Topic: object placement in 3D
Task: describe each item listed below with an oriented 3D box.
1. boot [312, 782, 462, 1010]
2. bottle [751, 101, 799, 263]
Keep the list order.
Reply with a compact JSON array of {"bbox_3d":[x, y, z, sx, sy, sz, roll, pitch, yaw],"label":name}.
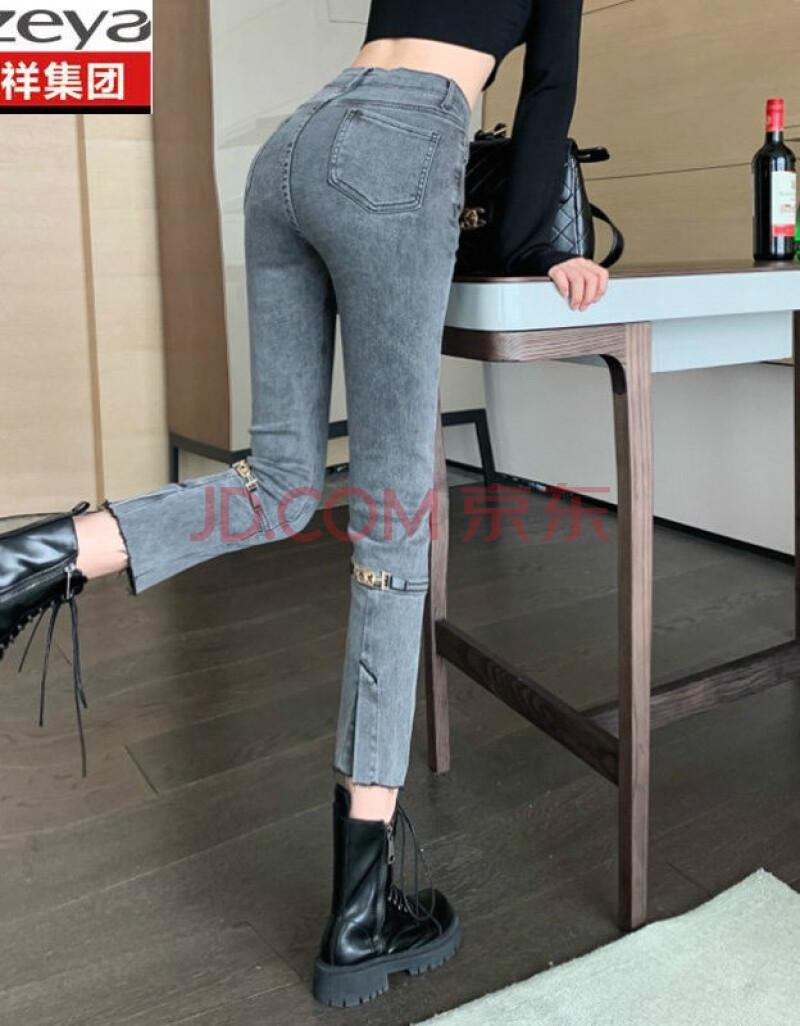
[{"bbox_3d":[-0.018,0.447,1.038,0.110,0.192,0.220,-2,-5,40],"label":"boot"},{"bbox_3d":[0.591,-0.526,1.370,0.072,0.257,0.213,3,15,20],"label":"bottle"}]
